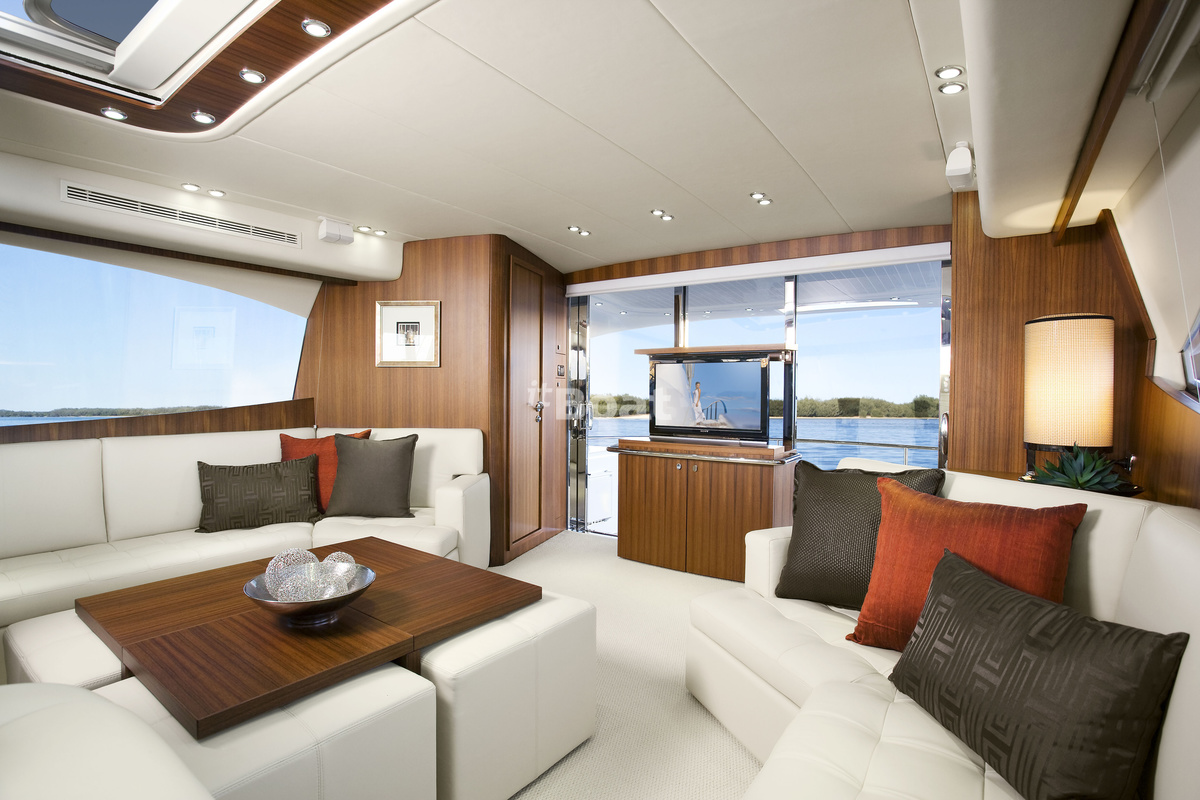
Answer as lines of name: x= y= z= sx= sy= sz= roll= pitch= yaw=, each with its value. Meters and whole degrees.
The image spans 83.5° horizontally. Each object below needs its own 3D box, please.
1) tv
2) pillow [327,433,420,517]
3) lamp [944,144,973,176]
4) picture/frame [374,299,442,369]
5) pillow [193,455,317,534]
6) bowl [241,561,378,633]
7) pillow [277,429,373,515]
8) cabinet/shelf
tv: x=0.848 y=-0.015 z=5.303 sx=1.007 sy=0.620 sz=0.016 roll=0 pitch=3 yaw=-11
pillow: x=-1.640 y=0.540 z=4.791 sx=0.584 sy=0.542 sz=0.281 roll=1 pitch=3 yaw=-2
lamp: x=2.015 y=-1.334 z=3.748 sx=0.131 sy=0.180 sz=0.177 roll=-1 pitch=2 yaw=31
picture/frame: x=-1.589 y=-0.559 z=5.645 sx=0.613 sy=0.595 sz=0.042 roll=0 pitch=-1 yaw=13
pillow: x=-2.313 y=0.643 z=4.458 sx=0.480 sy=0.315 sz=0.157 roll=-7 pitch=-1 yaw=-32
bowl: x=-1.206 y=0.795 z=2.808 sx=0.537 sy=0.169 sz=0.535 roll=-11 pitch=-32 yaw=-7
pillow: x=-1.942 y=0.530 z=4.734 sx=0.510 sy=0.555 sz=0.217 roll=-2 pitch=-19 yaw=-2
cabinet/shelf: x=0.876 y=0.843 z=5.481 sx=1.342 sy=0.962 sz=0.708 roll=1 pitch=1 yaw=40
